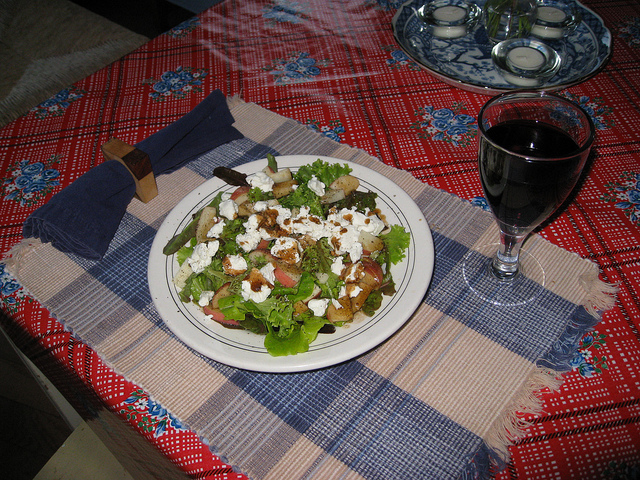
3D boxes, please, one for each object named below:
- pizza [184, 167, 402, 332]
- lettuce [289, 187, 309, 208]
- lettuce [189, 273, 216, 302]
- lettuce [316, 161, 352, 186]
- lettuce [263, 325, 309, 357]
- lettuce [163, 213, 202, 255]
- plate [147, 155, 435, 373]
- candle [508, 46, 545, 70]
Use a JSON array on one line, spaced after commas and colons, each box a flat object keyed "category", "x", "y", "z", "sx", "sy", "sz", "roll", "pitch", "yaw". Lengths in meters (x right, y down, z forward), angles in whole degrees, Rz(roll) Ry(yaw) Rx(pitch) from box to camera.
[{"category": "pizza", "x": -0.052, "y": -0.003, "z": 1.003, "sx": 0.429, "sy": 0.079, "sz": 0.399, "roll": 1, "pitch": 63, "yaw": 6}, {"category": "lettuce", "x": -0.043, "y": -0.087, "z": 1.054, "sx": 0.036, "sy": 0.015, "sz": 0.035, "roll": 32, "pitch": 83, "yaw": 30}, {"category": "lettuce", "x": -0.230, "y": 0.089, "z": 0.967, "sx": 0.046, "sy": 0.013, "sz": 0.051, "roll": -16, "pitch": 66, "yaw": -25}, {"category": "lettuce", "x": 0.029, "y": -0.148, "z": 1.113, "sx": 0.062, "sy": 0.027, "sz": 0.055, "roll": -17, "pitch": 46, "yaw": -13}, {"category": "lettuce", "x": -0.058, "y": 0.184, "z": 0.882, "sx": 0.078, "sy": 0.016, "sz": 0.048, "roll": -14, "pitch": 62, "yaw": -2}, {"category": "lettuce", "x": -0.277, "y": -0.014, "z": 1.025, "sx": 0.071, "sy": 0.061, "sz": 0.058, "roll": 19, "pitch": 32, "yaw": 32}, {"category": "plate", "x": -0.059, "y": 0.035, "z": 0.985, "sx": 0.563, "sy": 0.064, "sz": 0.457, "roll": -7, "pitch": 62, "yaw": 2}, {"category": "candle", "x": 0.540, "y": -0.475, "z": 1.303, "sx": 0.089, "sy": 0.018, "sz": 0.101, "roll": 9, "pitch": 64, "yaw": 10}]
